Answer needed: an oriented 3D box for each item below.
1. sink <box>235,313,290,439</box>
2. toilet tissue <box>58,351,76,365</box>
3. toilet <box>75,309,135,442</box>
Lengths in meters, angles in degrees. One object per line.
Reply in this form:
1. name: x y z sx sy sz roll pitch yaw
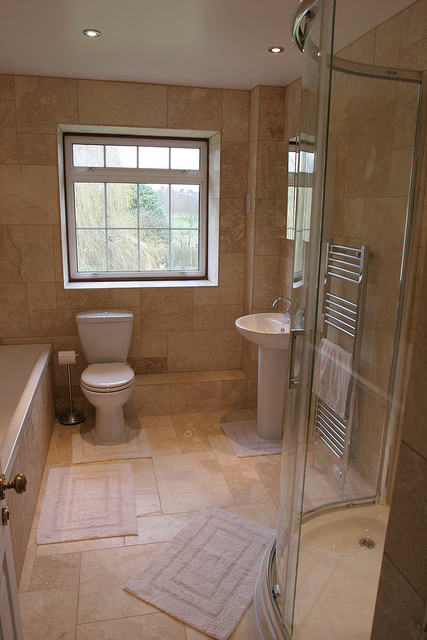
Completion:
1. sink: 0.400 0.451 3.316 0.383 0.812 0.697 1 13 -12
2. toilet tissue: -1.131 0.292 3.441 0.115 0.092 0.091 0 1 -22
3. toilet: -0.821 0.421 3.455 0.450 0.894 0.776 -2 10 -15
